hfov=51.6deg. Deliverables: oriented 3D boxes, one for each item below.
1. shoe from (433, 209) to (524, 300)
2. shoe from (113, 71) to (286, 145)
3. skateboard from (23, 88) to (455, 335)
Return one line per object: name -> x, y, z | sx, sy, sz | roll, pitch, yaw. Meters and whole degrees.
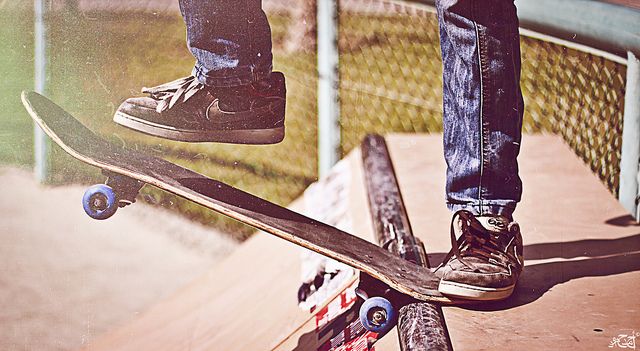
shoe -> 0.959, 0.481, 3.948 | 0.483, 0.389, 0.398 | 9, 24, 11
shoe -> -0.713, -0.383, 4.417 | 1.157, 0.506, 0.422 | 6, 2, -4
skateboard -> -0.565, 0.266, 4.095 | 2.298, 0.346, 0.494 | 27, 15, 4
